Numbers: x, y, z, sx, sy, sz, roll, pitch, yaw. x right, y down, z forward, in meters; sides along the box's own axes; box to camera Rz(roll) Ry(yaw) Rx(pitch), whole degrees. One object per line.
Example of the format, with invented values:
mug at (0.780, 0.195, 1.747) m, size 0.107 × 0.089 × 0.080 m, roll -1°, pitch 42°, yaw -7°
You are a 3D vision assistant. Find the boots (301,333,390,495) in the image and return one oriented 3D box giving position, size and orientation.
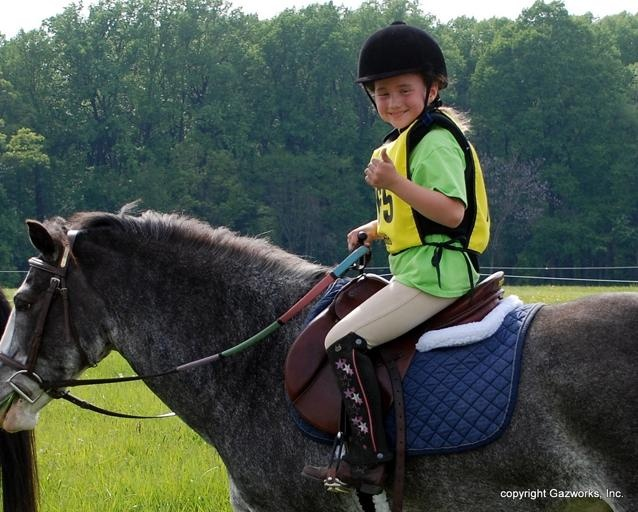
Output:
boots at (0.259, 1.228, 8.155) m, size 0.561 × 1.256 × 0.235 m, roll -1°, pitch 6°, yaw -1°
